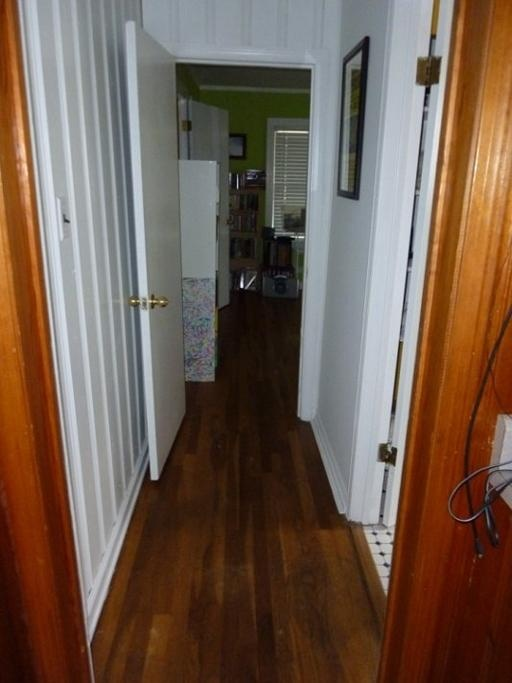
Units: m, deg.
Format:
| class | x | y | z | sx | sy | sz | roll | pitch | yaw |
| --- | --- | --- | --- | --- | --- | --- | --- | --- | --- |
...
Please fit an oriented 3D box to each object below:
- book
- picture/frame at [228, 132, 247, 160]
| class | x | y | z | sx | sy | sz | roll | pitch | yaw |
| --- | --- | --- | --- | --- | --- | --- | --- | --- | --- |
| book | -0.127 | -1.588 | 7.174 | 0.483 | 1.557 | 0.963 | 0 | 12 | 1 |
| picture/frame | -0.249 | -2.750 | 7.242 | 0.250 | 0.332 | 0.116 | -2 | 12 | -11 |
